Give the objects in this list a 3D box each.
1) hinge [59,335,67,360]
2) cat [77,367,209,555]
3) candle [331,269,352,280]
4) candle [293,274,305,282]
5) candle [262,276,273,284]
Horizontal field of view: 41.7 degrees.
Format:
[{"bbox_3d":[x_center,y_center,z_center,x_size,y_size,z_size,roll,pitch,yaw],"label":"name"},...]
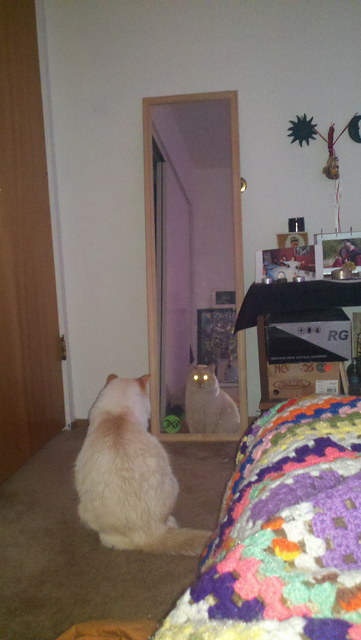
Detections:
[{"bbox_3d":[-0.663,0.157,2.668,0.012,0.142,0.050,2,7,30],"label":"hinge"},{"bbox_3d":[-0.153,0.516,1.582,0.301,0.655,0.305,-19,-26,-5],"label":"cat"},{"bbox_3d":[0.718,-0.206,2.141,0.094,0.044,0.077,2,8,27],"label":"candle"},{"bbox_3d":[0.546,-0.190,2.179,0.080,0.022,0.046,-8,9,-35],"label":"candle"},{"bbox_3d":[0.395,-0.182,2.191,0.032,0.016,0.037,3,28,7],"label":"candle"}]
